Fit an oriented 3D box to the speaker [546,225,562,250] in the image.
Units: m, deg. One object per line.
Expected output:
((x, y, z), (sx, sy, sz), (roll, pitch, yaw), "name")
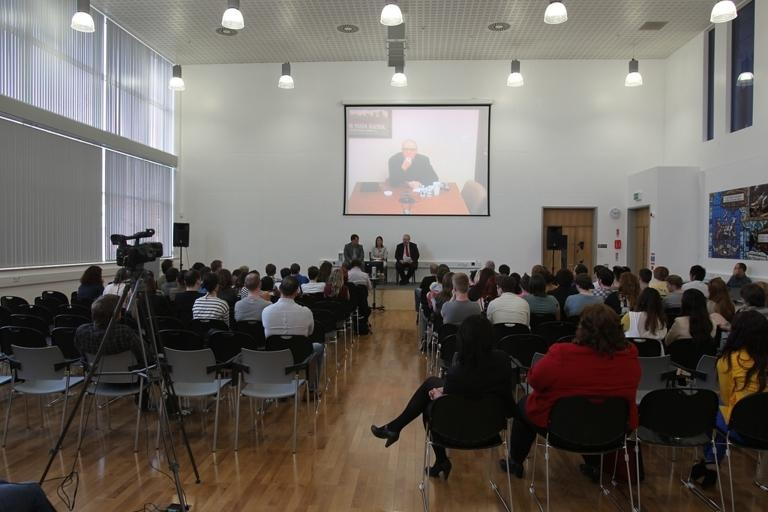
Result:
((4.299, -0.466, 14.033), (0.380, 0.557, 0.223), (-2, 3, 2), "speaker")

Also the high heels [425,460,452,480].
((0.595, 2.296, 6.015), (0.282, 0.174, 0.156), (-2, -5, 36), "high heels")

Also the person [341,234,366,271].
((-0.818, -0.027, 14.580), (0.511, 1.065, 0.562), (3, 11, -5), "person")

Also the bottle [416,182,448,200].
((1.306, -1.764, 15.067), (0.639, 0.326, 0.392), (-2, 1, -2), "bottle")
